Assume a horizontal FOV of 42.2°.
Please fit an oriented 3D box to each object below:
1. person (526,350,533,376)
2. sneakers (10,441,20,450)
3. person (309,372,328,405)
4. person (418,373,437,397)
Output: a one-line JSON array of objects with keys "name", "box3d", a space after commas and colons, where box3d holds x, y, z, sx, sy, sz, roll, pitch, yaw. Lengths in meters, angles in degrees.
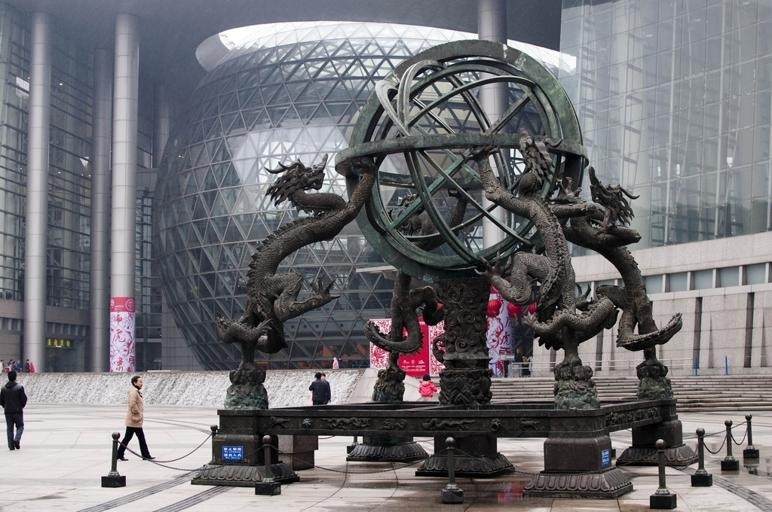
[{"name": "person", "box3d": [8.764, 6.612, 61.659, 0.314, 1.079, 0.617, 4, -4, 14]}, {"name": "sneakers", "box3d": [-11.708, 6.013, 31.947, 0.248, 0.269, 0.509, -2, -6, -1]}, {"name": "person", "box3d": [-2.364, 4.680, 35.635, 0.607, 1.046, 1.836, -2, -7, -7]}, {"name": "person", "box3d": [1.470, 4.724, 36.844, 0.796, 0.931, 0.448, 0, 8, 11]}]
